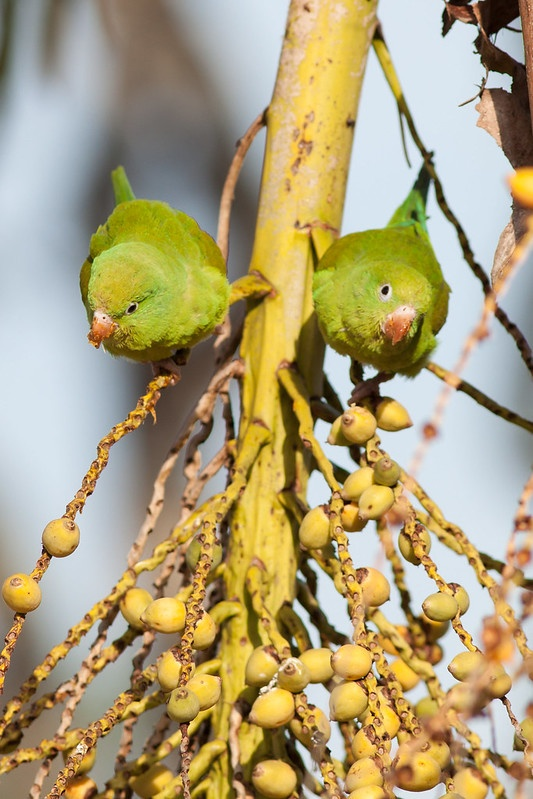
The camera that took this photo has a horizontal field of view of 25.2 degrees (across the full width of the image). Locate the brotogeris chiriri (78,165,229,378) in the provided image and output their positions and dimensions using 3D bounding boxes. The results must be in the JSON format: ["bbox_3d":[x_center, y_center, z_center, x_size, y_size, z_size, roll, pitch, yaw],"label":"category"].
[{"bbox_3d":[-0.098,-0.119,1.161,0.105,0.197,0.133,-2,-28,11],"label":"brotogeris chiriri"}]
